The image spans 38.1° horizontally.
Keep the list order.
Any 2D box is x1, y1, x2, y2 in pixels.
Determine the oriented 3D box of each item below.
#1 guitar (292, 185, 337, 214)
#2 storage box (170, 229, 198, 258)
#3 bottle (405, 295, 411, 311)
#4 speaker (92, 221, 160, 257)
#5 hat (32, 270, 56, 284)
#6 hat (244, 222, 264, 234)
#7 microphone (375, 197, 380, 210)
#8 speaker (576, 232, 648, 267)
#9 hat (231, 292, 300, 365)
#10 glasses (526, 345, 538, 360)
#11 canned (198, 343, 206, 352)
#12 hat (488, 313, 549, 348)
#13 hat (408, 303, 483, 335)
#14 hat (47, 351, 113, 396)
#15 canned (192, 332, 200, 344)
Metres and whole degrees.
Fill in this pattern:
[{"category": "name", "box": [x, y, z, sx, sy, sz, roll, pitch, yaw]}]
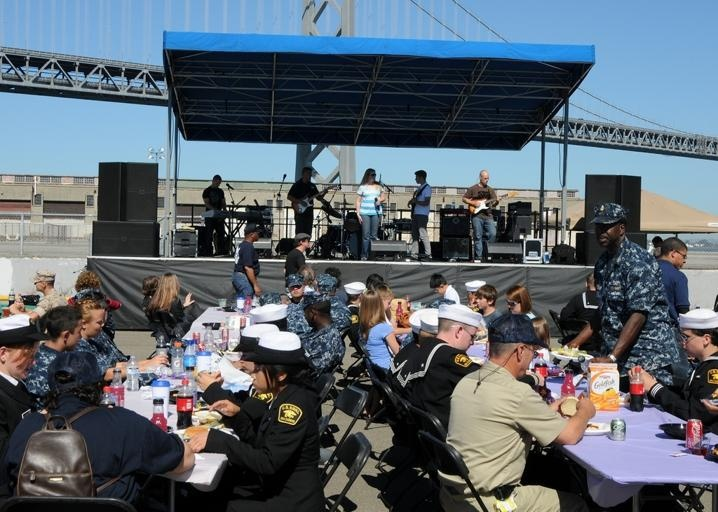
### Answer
[{"category": "guitar", "box": [-0.943, -1.173, 21.052, 0.884, 0.321, 0.130, -24, 9, -28]}, {"category": "storage box", "box": [-3.254, -0.235, 19.239, 0.451, 0.455, 0.459, 0, 1, 1]}, {"category": "bottle", "box": [0.772, 0.737, 16.069, 0.093, 0.164, 0.152, 0, -9, 0]}, {"category": "speaker", "box": [-4.317, -0.390, 18.751, 1.023, 0.647, 0.577, 1, 14, -13]}, {"category": "hat", "box": [-4.366, 0.274, 14.256, 0.272, 0.110, 0.197, 3, 3, 30]}, {"category": "hat", "box": [-1.770, -0.508, 16.963, 0.388, 0.205, 0.282, 4, -1, -2]}, {"category": "microphone", "box": [0.338, -1.008, 19.516, 0.093, 0.222, 0.059, 4, 3, -43]}, {"category": "speaker", "box": [4.548, -0.171, 19.176, 1.043, 0.697, 1.016, -1, 1, -9]}, {"category": "hat", "box": [-0.903, 0.700, 9.991, 0.576, 0.390, 0.758, 0, 9, 3]}, {"category": "glasses", "box": [1.617, 0.900, 9.668, 0.137, 0.093, 0.174, 0, -5, 1]}, {"category": "canned", "box": [-1.859, 1.074, 12.215, 0.103, 0.133, 0.111, 1, 0, -7]}, {"category": "hat", "box": [1.444, 0.684, 9.641, 0.400, 0.216, 0.280, 0, 3, -16]}, {"category": "hat", "box": [0.949, 0.673, 10.543, 0.519, 0.161, 0.416, 14, 2, -16]}, {"category": "hat", "box": [-2.501, 1.037, 9.285, 0.457, 0.367, 0.327, 15, 13, -4]}, {"category": "canned", "box": [-1.986, 0.983, 12.553, 0.109, 0.179, 0.112, 0, -3, 5]}]
